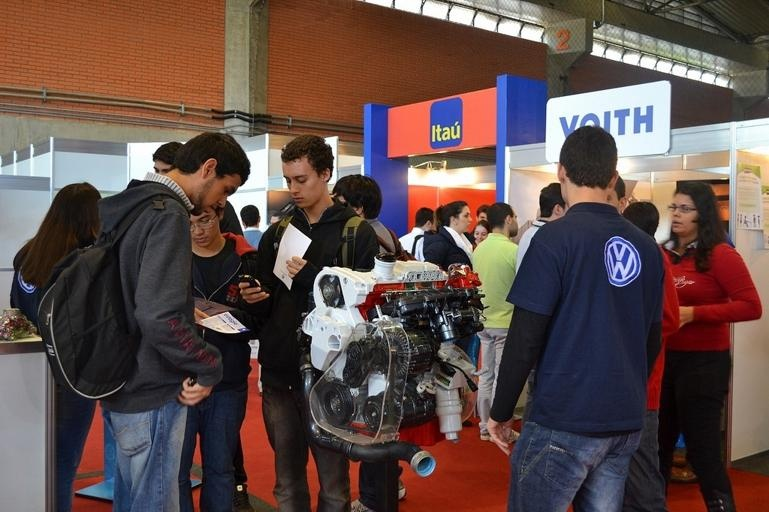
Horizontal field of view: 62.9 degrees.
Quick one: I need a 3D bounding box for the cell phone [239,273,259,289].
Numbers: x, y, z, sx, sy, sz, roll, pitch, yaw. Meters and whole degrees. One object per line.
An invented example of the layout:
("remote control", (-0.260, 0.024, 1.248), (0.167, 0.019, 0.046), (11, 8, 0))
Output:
("cell phone", (-0.749, 0.137, 3.484), (0.067, 0.028, 0.117), (18, -17, 29))
